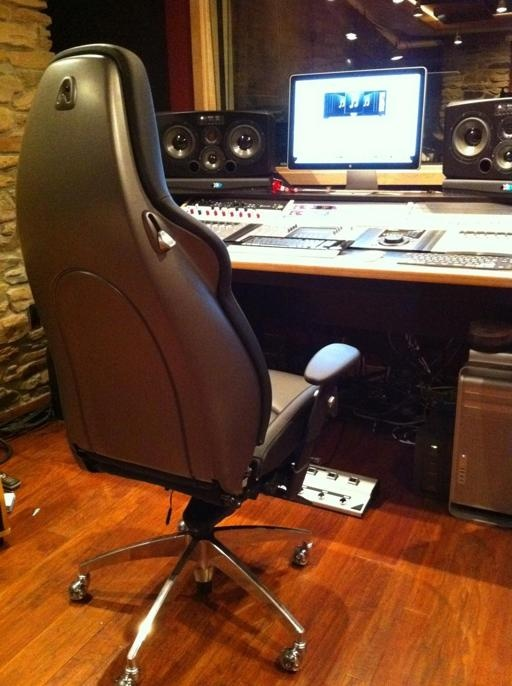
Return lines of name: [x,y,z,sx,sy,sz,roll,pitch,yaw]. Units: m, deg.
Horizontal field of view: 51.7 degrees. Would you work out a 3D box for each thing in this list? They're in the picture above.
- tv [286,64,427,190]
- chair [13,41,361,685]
tv: [0.389,-0.801,1.960,0.614,0.401,0.045,8,23,22]
chair: [-0.150,0.133,1.014,0.649,1.223,0.410,0,24,1]
